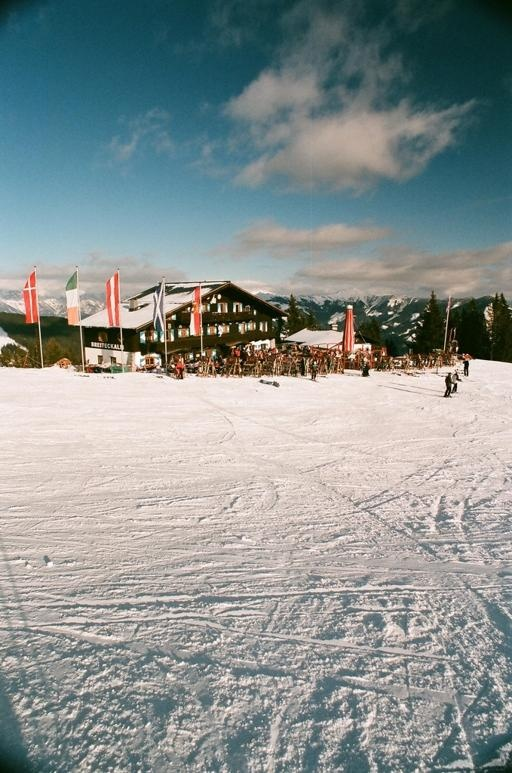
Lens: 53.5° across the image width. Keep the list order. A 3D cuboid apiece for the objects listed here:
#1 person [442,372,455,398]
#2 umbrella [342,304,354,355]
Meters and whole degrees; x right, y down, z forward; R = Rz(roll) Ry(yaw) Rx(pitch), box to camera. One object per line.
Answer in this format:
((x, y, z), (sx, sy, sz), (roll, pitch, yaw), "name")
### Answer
((9.463, -0.048, 24.719), (0.453, 0.493, 1.315), (-13, -15, 13), "person")
((6.270, -3.868, 33.859), (0.596, 3.064, 1.866), (3, 8, 8), "umbrella")
